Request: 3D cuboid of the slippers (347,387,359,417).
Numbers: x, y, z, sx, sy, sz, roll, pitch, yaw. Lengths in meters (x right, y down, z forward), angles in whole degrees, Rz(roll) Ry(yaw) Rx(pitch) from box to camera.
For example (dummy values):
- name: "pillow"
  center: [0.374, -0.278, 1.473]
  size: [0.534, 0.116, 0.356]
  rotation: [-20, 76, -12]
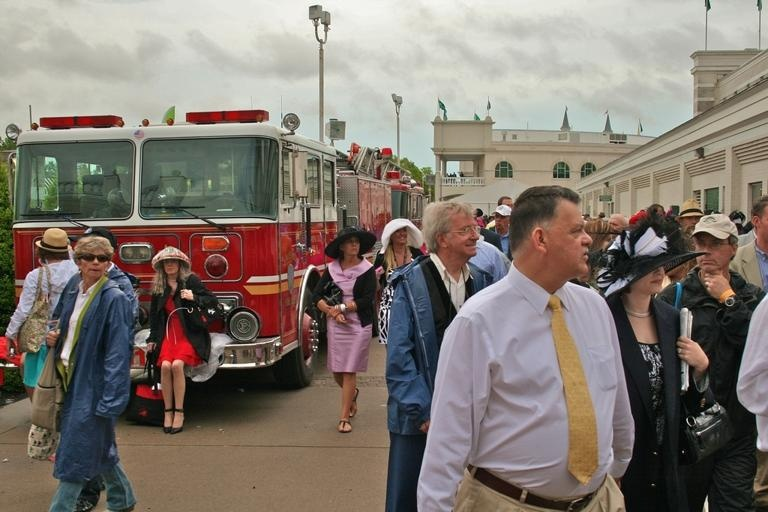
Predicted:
- name: "slippers"
  center: [-0.379, 1.771, 11.320]
  size: [0.109, 0.355, 0.133]
  rotation: [-1, 19, 1]

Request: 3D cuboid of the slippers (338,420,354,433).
- name: "slippers"
  center: [-0.465, 1.975, 10.940]
  size: [0.180, 0.123, 0.197]
  rotation: [0, 10, -2]

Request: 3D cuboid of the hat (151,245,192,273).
- name: "hat"
  center: [-2.549, 0.041, 10.989]
  size: [0.316, 0.174, 0.319]
  rotation: [6, -24, -20]

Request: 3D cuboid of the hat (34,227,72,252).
- name: "hat"
  center: [-3.627, -0.194, 10.029]
  size: [0.305, 0.123, 0.259]
  rotation: [25, 12, 35]

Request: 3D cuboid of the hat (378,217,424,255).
- name: "hat"
  center: [0.153, -0.260, 10.561]
  size: [0.346, 0.370, 0.490]
  rotation: [-3, -11, 18]

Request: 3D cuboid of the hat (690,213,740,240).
- name: "hat"
  center: [3.078, -0.276, 8.591]
  size: [0.232, 0.163, 0.344]
  rotation: [-2, -7, 39]

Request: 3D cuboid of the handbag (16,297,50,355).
- name: "handbag"
  center: [-3.703, 0.735, 9.737]
  size: [0.165, 0.473, 0.460]
  rotation: [12, -21, -27]

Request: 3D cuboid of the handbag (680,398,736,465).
- name: "handbag"
  center: [2.587, 1.415, 7.446]
  size: [0.456, 0.444, 0.206]
  rotation: [-22, 2, -34]

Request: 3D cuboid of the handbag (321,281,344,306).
- name: "handbag"
  center: [-0.629, 0.447, 11.262]
  size: [0.235, 0.243, 0.092]
  rotation: [-2, -13, -37]
